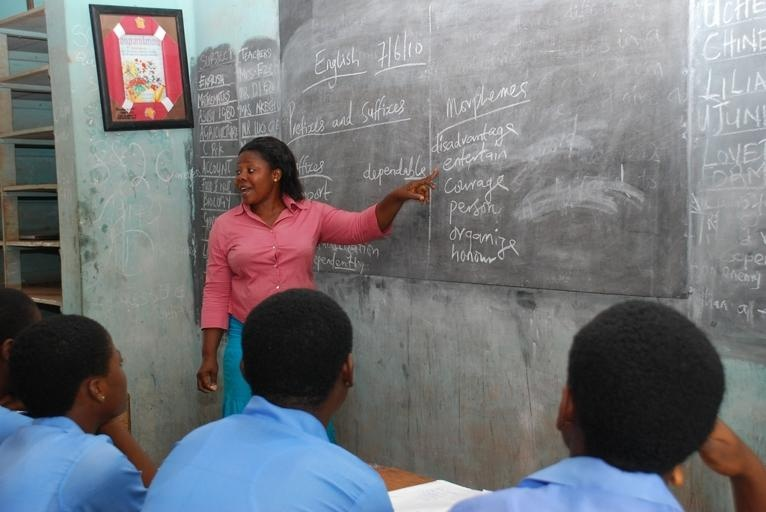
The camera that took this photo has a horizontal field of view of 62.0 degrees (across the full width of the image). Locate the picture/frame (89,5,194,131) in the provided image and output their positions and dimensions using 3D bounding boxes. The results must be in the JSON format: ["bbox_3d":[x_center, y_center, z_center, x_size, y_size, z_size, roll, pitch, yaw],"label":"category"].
[{"bbox_3d":[-1.495,-1.138,3.849,0.744,0.879,0.067,-9,6,-44],"label":"picture/frame"}]

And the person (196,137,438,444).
[{"bbox_3d":[-0.412,0.445,3.290,1.186,1.973,0.475,-2,14,-16],"label":"person"}]
